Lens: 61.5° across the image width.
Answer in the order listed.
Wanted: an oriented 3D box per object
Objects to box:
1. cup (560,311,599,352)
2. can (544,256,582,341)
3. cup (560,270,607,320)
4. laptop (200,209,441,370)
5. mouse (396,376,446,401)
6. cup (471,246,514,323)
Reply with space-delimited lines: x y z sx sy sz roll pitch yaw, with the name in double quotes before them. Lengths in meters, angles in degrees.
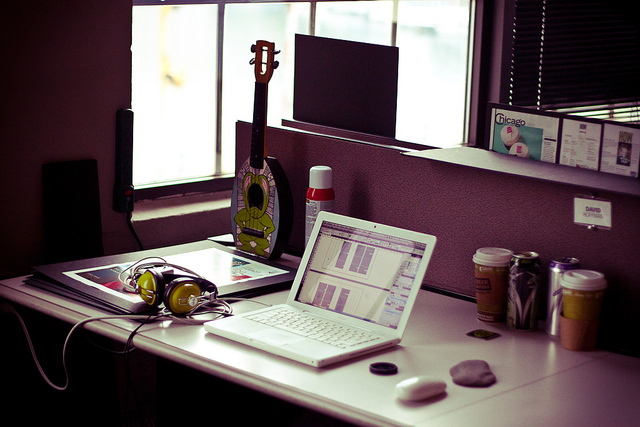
"cup" 0.689 0.311 1.470 0.099 0.080 0.104 2 5 0
"can" 0.664 0.230 1.533 0.125 0.226 0.088 3 5 -1
"cup" 0.688 0.213 1.464 0.120 0.125 0.119 1 18 0
"laptop" 0.053 0.224 1.504 0.467 0.286 0.476 -6 16 -44
"mouse" 0.223 0.391 1.208 0.090 0.037 0.049 -2 10 -16
"cup" 0.501 0.220 1.598 0.148 0.204 0.150 0 -6 0
